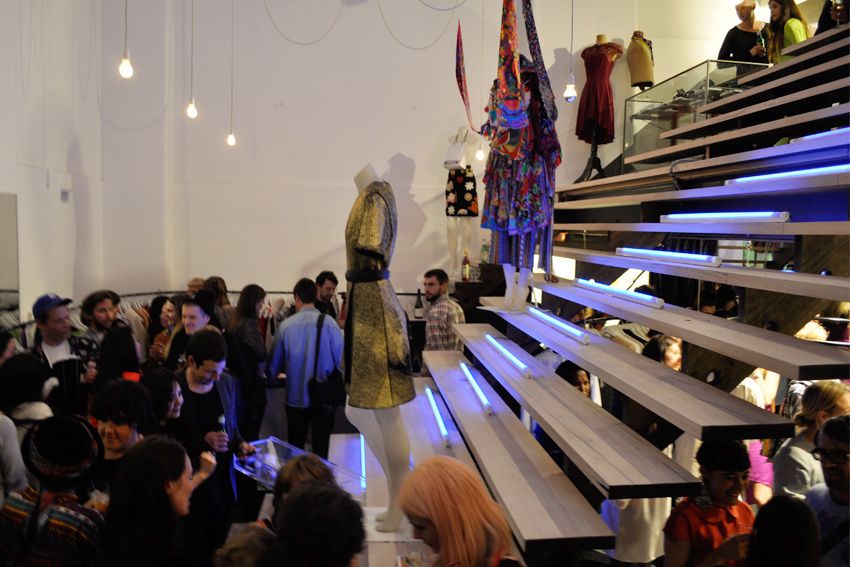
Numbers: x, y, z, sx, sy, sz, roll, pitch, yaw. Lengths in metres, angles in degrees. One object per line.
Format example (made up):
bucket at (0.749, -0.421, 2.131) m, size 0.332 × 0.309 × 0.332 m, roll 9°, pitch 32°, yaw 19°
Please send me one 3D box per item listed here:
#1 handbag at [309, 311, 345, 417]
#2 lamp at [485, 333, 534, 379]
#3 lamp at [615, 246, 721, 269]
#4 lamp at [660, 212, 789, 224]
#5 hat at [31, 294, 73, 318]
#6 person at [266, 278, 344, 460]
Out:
handbag at (-0.810, 0.671, 4.991) m, size 0.197 × 0.826 × 0.288 m, roll 5°, pitch 10°, yaw 31°
lamp at (0.577, 0.504, 4.203) m, size 0.066 × 0.085 × 0.639 m, roll -13°, pitch 19°, yaw -14°
lamp at (1.457, -0.152, 3.610) m, size 0.090 × 0.096 × 0.816 m, roll -6°, pitch 8°, yaw -30°
lamp at (1.686, -0.375, 3.411) m, size 0.217 × 0.083 × 0.857 m, roll -2°, pitch 9°, yaw -11°
hat at (-2.848, 0.174, 4.558) m, size 0.192 × 0.111 × 0.135 m, roll -30°, pitch 11°, yaw 0°
person at (-1.006, 0.883, 5.200) m, size 0.630 × 1.799 × 0.488 m, roll 2°, pitch 10°, yaw -3°
